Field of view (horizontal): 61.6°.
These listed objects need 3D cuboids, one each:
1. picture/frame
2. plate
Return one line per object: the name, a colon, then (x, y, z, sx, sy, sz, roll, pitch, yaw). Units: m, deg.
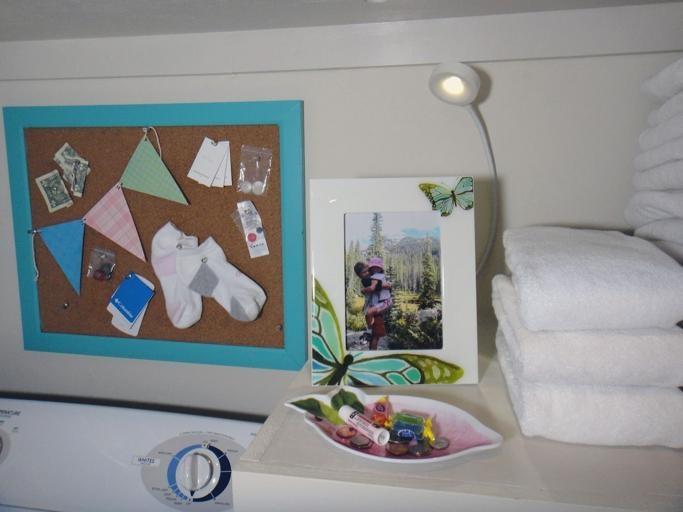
picture/frame: (0.124, 0.072, 1.346, 0.438, 0.578, 0.023, -2, -3, 4)
plate: (0.097, 0.356, 1.221, 0.355, 0.057, 0.173, 6, 37, 17)
